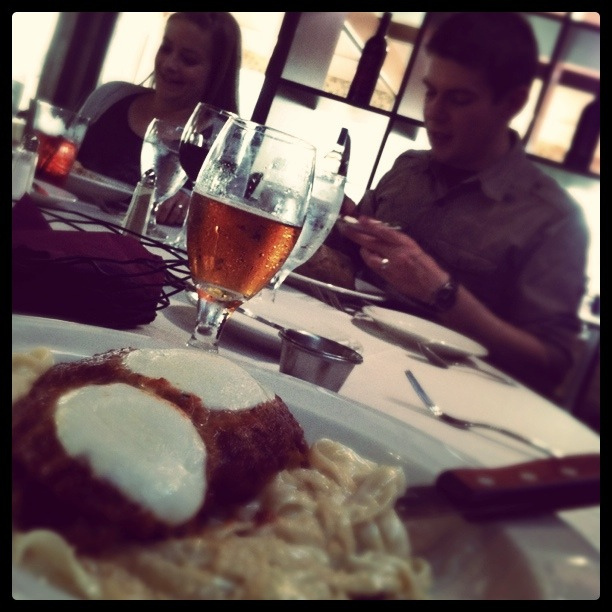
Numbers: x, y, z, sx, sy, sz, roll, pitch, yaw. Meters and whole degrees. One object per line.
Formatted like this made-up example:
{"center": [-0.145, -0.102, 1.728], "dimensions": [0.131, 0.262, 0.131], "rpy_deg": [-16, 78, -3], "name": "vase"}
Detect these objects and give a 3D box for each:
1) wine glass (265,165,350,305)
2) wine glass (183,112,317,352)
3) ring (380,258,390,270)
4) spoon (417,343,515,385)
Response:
{"center": [-0.002, -0.077, 0.633], "dimensions": [0.070, 0.157, 0.090], "rpy_deg": [4, 10, 5], "name": "wine glass"}
{"center": [-0.049, -0.036, 0.389], "dimensions": [0.072, 0.165, 0.071], "rpy_deg": [11, 21, -23], "name": "wine glass"}
{"center": [0.116, -0.062, 0.837], "dimensions": [0.013, 0.016, 0.017], "rpy_deg": [29, 11, 18], "name": "ring"}
{"center": [0.172, 0.050, 0.615], "dimensions": [0.083, 0.035, 0.085], "rpy_deg": [6, 11, 26], "name": "spoon"}
